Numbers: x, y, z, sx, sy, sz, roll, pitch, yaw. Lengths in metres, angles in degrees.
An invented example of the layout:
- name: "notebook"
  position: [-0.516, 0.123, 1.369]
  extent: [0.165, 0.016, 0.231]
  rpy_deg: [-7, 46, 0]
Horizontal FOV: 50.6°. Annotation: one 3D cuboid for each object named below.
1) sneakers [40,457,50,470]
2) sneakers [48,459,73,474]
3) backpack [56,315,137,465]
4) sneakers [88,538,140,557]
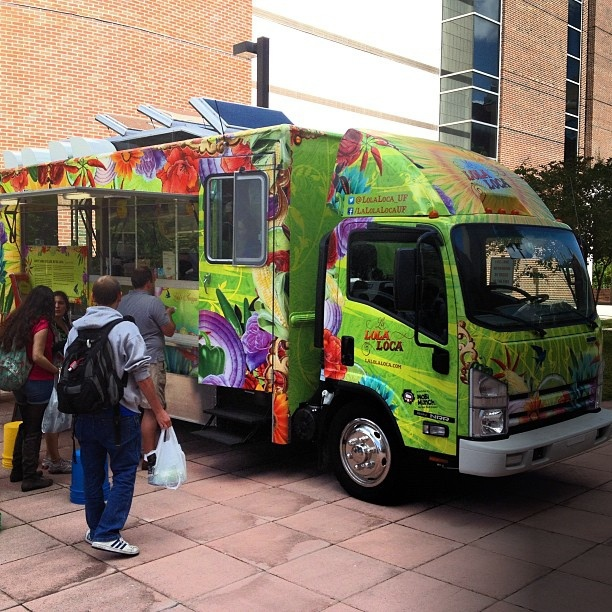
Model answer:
- name: "sneakers"
  position: [-2.549, 1.559, 6.354]
  extent: [0.070, 0.079, 0.198]
  rpy_deg: [0, 1, -13]
- name: "sneakers"
  position: [-2.422, 1.587, 6.358]
  extent: [0.254, 0.100, 0.135]
  rpy_deg: [-6, 10, -36]
- name: "backpack"
  position: [-1.412, 0.505, 4.332]
  extent: [0.498, 0.776, 0.513]
  rpy_deg: [-5, -1, 36]
- name: "sneakers"
  position: [-1.266, 1.618, 4.404]
  extent: [0.373, 0.144, 0.132]
  rpy_deg: [12, 2, -27]
